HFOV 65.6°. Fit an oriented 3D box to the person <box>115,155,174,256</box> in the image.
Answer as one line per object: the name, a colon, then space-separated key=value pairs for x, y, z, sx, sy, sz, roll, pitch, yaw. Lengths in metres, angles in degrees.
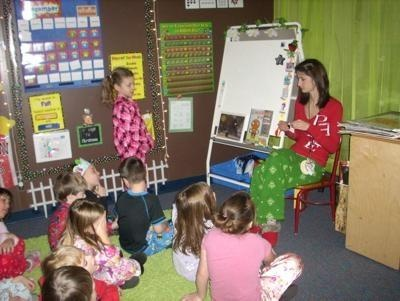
person: x=-0.478 y=0.473 z=2.920 sx=0.633 sy=0.839 sz=0.670 roll=1 pitch=7 yaw=-24

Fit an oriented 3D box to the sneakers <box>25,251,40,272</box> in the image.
sneakers: x=-1.466 y=0.965 z=2.735 sx=0.049 sy=0.137 sz=0.102 roll=-17 pitch=-17 yaw=40

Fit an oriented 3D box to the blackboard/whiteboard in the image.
blackboard/whiteboard: x=0.641 y=-0.636 z=3.543 sx=1.084 sy=1.490 sz=0.466 roll=16 pitch=19 yaw=37

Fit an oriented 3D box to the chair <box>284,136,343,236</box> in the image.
chair: x=1.135 y=0.266 z=3.307 sx=0.572 sy=0.987 sz=0.584 roll=-1 pitch=7 yaw=0
